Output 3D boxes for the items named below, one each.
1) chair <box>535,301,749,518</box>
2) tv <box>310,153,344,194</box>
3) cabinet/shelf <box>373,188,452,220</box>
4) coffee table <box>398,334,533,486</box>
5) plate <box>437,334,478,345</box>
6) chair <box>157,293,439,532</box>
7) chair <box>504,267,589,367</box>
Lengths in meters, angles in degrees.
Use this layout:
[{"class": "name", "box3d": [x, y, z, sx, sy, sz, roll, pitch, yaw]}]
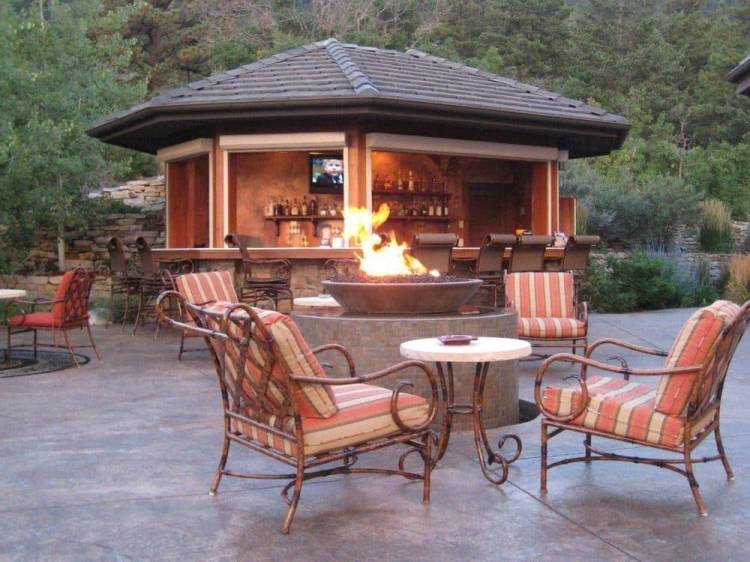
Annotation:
[{"class": "chair", "box3d": [1.817, 0.666, 4.411, 1.419, 1.275, 1.012, 1, 0, 30]}, {"class": "tv", "box3d": [-0.820, -1.787, 11.749, 0.796, 0.744, 0.411, 0, 3, -15]}, {"class": "cabinet/shelf", "box3d": [0.743, -1.411, 13.183, 1.569, 0.481, 0.489, -4, 8, -33]}, {"class": "coffee table", "box3d": [0.498, 0.755, 4.443, 0.931, 0.885, 0.882, -1, -2, 9]}, {"class": "plate", "box3d": [0.511, 0.360, 4.283, 0.238, 0.049, 0.131, -1, 6, -4]}, {"class": "chair", "box3d": [-0.422, 0.663, 4.168, 1.404, 1.043, 1.017, 2, 1, -32]}, {"class": "chair", "box3d": [1.849, 0.369, 7.392, 0.942, 1.023, 1.146, 0, 0, -4]}]
